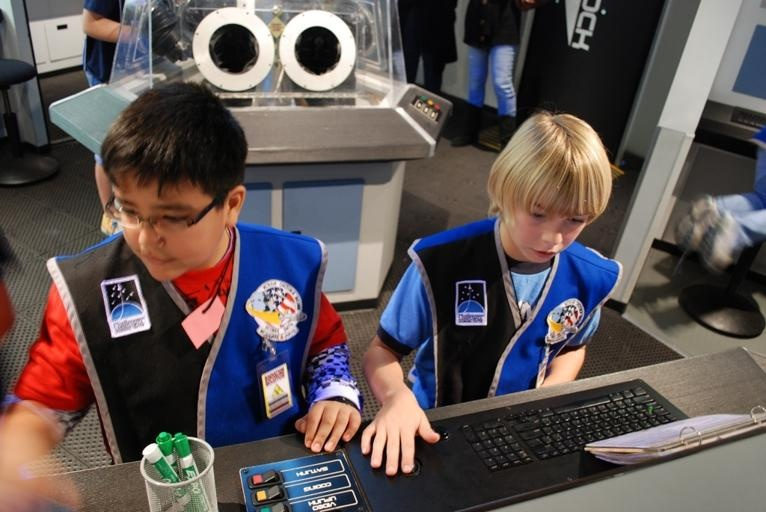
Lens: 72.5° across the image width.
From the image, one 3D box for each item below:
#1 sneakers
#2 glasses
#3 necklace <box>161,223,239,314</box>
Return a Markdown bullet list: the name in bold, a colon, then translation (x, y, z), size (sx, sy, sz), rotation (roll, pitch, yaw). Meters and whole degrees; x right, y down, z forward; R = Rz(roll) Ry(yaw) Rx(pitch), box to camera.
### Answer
- **sneakers**: translation (1.774, -0.109, 2.861), size (0.237, 0.424, 0.186), rotation (4, 36, 42)
- **glasses**: translation (-0.514, -0.105, 1.203), size (0.286, 0.069, 0.107), rotation (0, 31, -4)
- **necklace**: translation (-0.465, 0.030, 1.358), size (0.126, 0.134, 0.178), rotation (-4, 67, 9)
